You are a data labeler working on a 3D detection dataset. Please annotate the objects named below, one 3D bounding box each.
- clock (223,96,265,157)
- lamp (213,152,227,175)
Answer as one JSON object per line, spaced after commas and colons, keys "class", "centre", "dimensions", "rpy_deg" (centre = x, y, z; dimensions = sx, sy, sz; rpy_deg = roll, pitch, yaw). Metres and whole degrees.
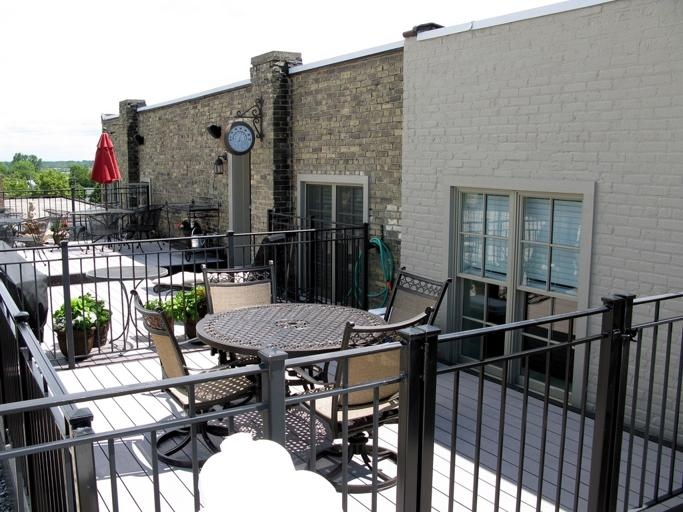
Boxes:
{"class": "clock", "centre": [-1.762, -2.234, 10.012], "dimensions": [0.704, 0.957, 0.800], "rpy_deg": [-6, 8, -25]}
{"class": "lamp", "centre": [-2.564, -1.943, 12.235], "dimensions": [0.141, 0.438, 0.656], "rpy_deg": [-6, 9, -28]}
